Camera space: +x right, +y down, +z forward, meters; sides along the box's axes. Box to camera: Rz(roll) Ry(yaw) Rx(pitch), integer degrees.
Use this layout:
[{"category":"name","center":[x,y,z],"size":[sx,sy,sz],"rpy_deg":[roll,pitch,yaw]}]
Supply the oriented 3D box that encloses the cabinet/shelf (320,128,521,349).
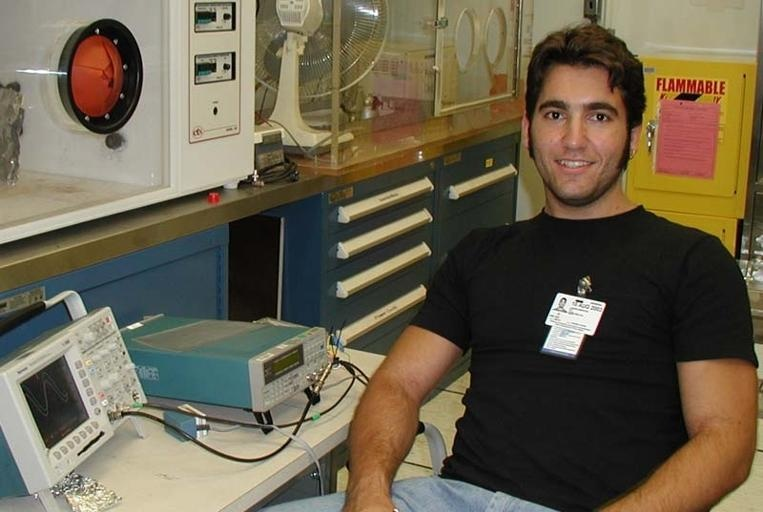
[{"category":"cabinet/shelf","center":[0.108,-0.086,2.443],"size":[0.371,0.971,1.004],"rpy_deg":[11,16,37]}]
